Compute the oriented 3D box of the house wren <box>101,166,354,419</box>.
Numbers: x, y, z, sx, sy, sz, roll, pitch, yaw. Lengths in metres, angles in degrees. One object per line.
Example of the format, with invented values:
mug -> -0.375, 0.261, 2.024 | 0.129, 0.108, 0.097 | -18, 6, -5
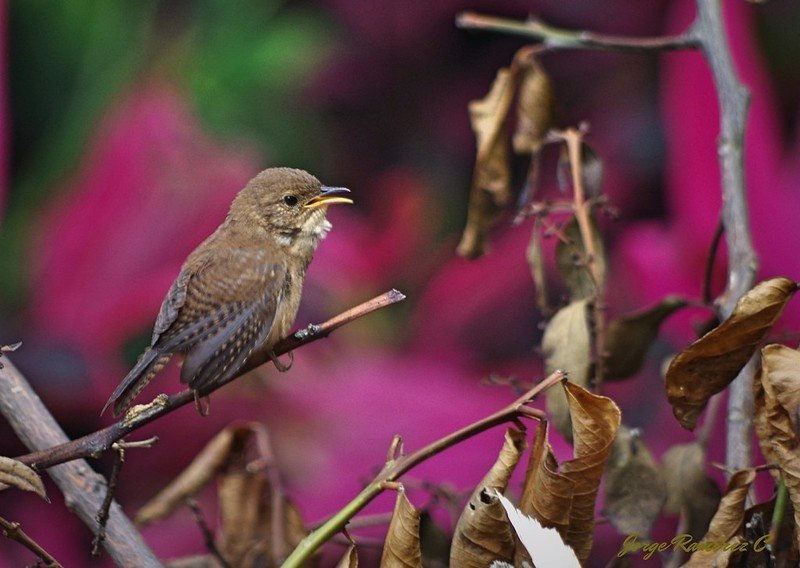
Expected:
house wren -> -0.656, 0.042, 4.296 | 0.898, 0.916, 0.462 | 0, -10, -30
